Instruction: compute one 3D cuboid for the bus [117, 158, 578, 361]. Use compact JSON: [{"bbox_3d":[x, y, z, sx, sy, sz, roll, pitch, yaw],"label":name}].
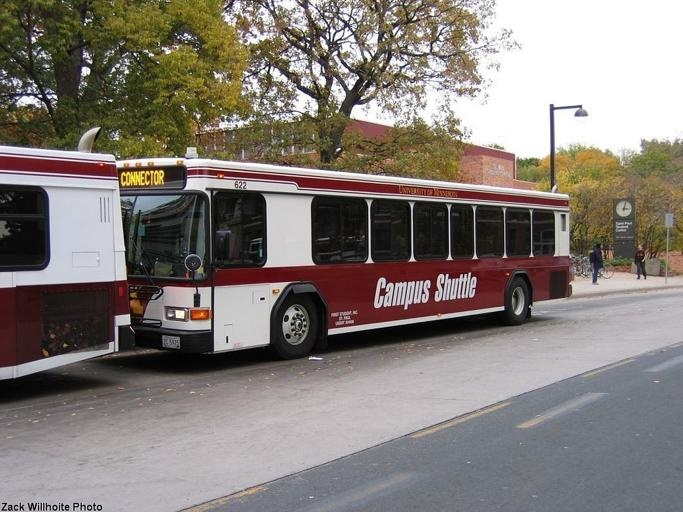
[{"bbox_3d":[1.468,0.012,15.270,2.441,3.701,13.440,1,2,45],"label":"bus"}]
